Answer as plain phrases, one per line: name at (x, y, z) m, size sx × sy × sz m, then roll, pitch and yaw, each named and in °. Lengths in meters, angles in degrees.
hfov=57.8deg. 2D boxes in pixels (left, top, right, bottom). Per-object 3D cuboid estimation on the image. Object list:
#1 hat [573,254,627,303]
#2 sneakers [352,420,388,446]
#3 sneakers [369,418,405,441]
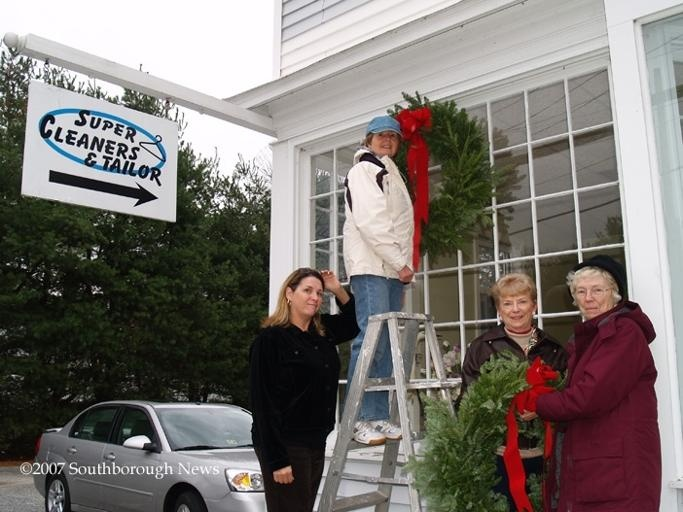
hat at (1.669, 0.140, 3.954) m, size 0.245 × 0.159 × 0.362 m, roll -5°, pitch -6°, yaw 11°
sneakers at (0.190, 1.227, 4.266) m, size 0.126 × 0.114 × 0.269 m, roll 11°, pitch -15°, yaw -41°
sneakers at (0.327, 1.217, 4.319) m, size 0.190 × 0.080 × 0.087 m, roll -9°, pitch -15°, yaw 44°
